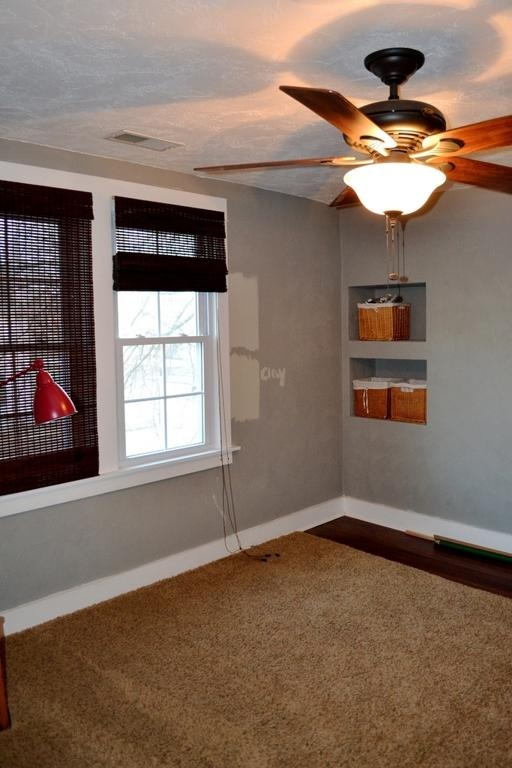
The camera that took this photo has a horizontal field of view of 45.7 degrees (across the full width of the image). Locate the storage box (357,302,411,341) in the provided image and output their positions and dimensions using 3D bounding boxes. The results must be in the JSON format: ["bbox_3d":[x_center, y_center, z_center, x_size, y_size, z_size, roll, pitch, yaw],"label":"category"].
[{"bbox_3d":[0.900,-0.422,4.271,0.390,0.294,0.255,1,2,43],"label":"storage box"}]

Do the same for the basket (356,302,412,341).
[{"bbox_3d":[0.904,-0.411,4.284,0.409,0.302,0.258,2,3,43],"label":"basket"}]

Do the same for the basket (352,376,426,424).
[{"bbox_3d":[0.905,0.109,4.182,0.107,0.284,0.624,-5,6,-38],"label":"basket"}]

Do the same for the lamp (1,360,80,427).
[{"bbox_3d":[-0.757,0.022,2.207,0.125,0.213,0.376,-3,5,-27],"label":"lamp"}]
